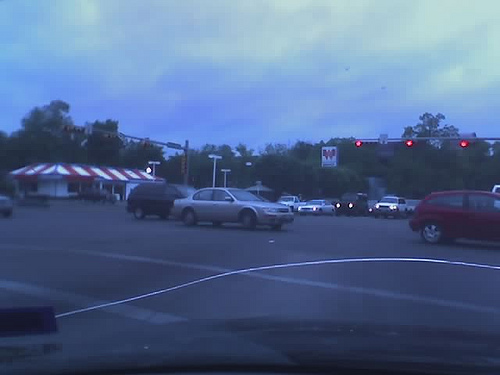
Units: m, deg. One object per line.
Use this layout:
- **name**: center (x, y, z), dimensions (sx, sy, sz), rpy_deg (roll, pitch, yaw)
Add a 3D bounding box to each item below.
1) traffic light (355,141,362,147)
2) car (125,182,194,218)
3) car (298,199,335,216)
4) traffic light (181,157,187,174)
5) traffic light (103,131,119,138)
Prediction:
- **traffic light**: center (3.811, -1.521, 25.987), dimensions (0.259, 0.077, 0.292), rpy_deg (-18, -8, 32)
- **car**: center (-3.452, 0.410, 27.432), dimensions (2.165, 1.137, 1.280), rpy_deg (-2, 0, -4)
- **car**: center (3.187, 0.994, 36.071), dimensions (0.751, 0.660, 1.859), rpy_deg (-4, -8, 32)
- **traffic light**: center (-2.517, -0.818, 28.212), dimensions (0.116, 0.568, 0.361), rpy_deg (1, 0, -13)
- **traffic light**: center (-4.042, -1.510, 21.328), dimensions (0.184, 0.112, 0.586), rpy_deg (-5, 1, -22)
